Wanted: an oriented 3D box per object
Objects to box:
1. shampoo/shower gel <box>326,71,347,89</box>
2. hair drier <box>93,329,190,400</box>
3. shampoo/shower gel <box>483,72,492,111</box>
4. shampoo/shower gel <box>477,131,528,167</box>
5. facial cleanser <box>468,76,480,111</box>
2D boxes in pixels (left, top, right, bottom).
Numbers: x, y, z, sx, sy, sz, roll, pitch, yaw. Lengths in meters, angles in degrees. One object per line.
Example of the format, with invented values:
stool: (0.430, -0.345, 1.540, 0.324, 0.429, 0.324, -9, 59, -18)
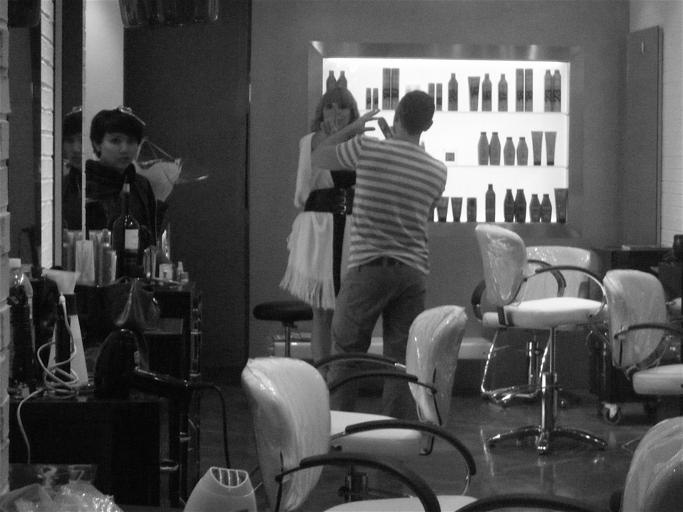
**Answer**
shampoo/shower gel: (-0.028, -1.037, 5.007, 0.109, 0.117, 0.032, -1, -35, 2)
hair drier: (-0.643, 0.362, 2.750, 0.296, 0.236, 0.089, 7, 13, -15)
shampoo/shower gel: (0.854, -0.962, 4.998, 0.058, 0.211, 0.074, 2, 9, 9)
shampoo/shower gel: (0.951, -0.627, 4.997, 0.310, 0.192, 0.054, -2, 9, -11)
facial cleanser: (0.775, -0.953, 4.991, 0.068, 0.194, 0.066, 1, 9, 7)
